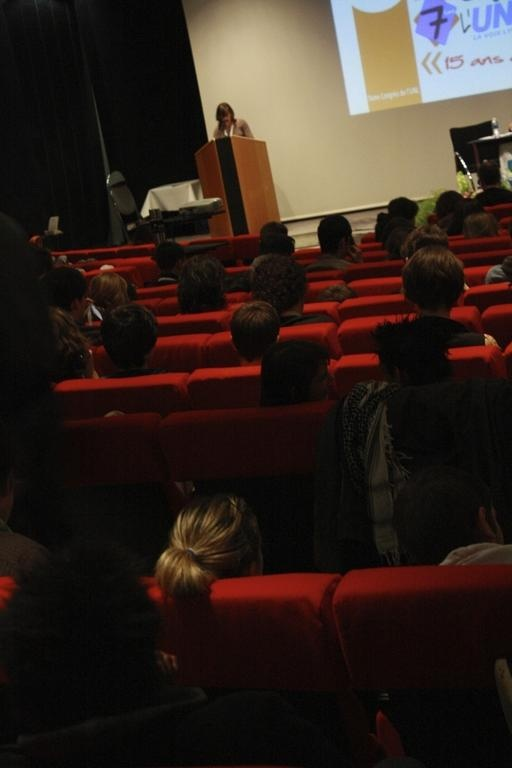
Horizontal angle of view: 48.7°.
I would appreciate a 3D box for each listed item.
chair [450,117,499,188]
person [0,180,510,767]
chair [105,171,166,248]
[{"bbox_3d":[3.541,-3.692,9.134,0.611,0.960,1.104,-7,19,15],"label":"chair"},{"bbox_3d":[-0.008,0.247,0.879,0.574,0.754,0.501,-4,-2,-17],"label":"person"},{"bbox_3d":[-2.252,-3.383,11.229,1.123,1.491,0.974,13,34,27],"label":"chair"}]
